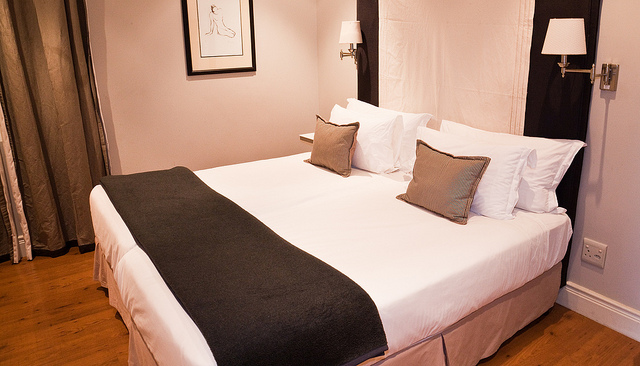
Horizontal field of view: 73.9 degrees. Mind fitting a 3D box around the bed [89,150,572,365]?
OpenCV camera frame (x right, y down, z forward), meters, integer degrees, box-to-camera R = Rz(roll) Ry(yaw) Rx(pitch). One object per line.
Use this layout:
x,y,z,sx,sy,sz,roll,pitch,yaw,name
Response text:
0.032,0.638,3.185,2.296,0.630,2.319,-12,26,-27,bed
